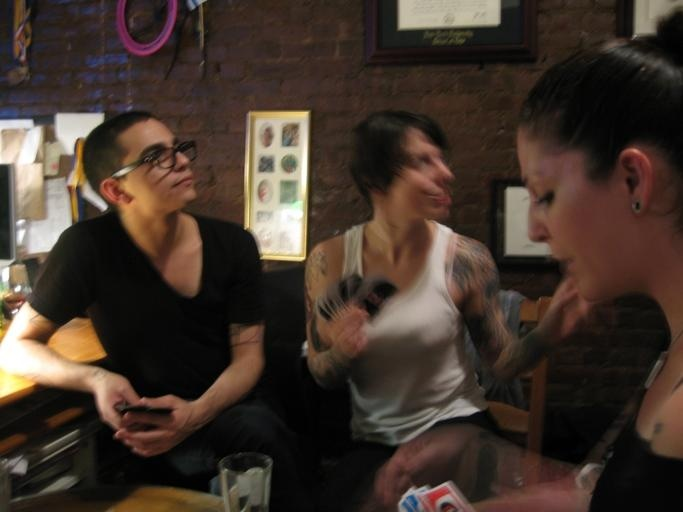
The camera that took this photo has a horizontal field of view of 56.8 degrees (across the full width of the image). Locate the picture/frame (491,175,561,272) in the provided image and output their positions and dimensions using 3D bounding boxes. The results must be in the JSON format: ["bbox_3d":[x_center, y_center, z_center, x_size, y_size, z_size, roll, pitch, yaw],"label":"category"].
[{"bbox_3d":[0.568,-0.089,1.927,0.181,0.233,0.024,0,0,-16],"label":"picture/frame"}]

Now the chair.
[{"bbox_3d":[0.590,0.359,2.236,0.340,0.663,0.349,1,2,15],"label":"chair"}]

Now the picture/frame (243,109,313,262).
[{"bbox_3d":[-0.195,-0.218,2.057,0.236,0.481,0.122,-5,11,22],"label":"picture/frame"}]

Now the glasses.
[{"bbox_3d":[-0.588,-0.301,2.049,0.157,0.051,0.166,-23,7,17],"label":"glasses"}]
